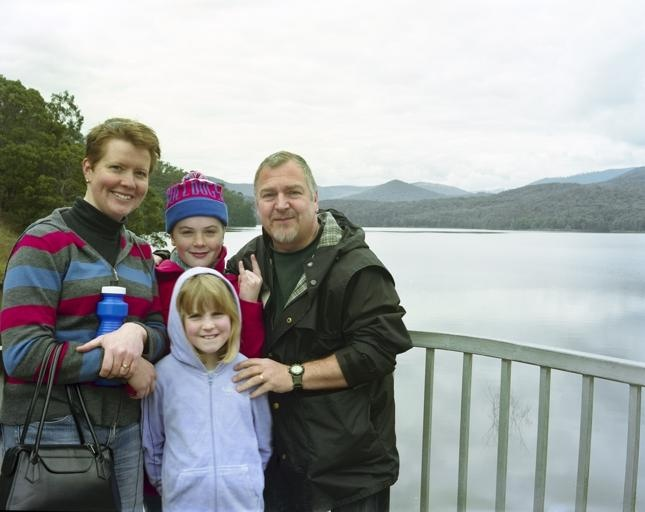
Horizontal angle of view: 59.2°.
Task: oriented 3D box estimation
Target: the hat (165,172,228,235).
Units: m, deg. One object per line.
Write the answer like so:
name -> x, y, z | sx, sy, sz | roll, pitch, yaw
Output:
hat -> -0.792, -0.343, 3.690 | 0.422, 0.430, 0.441 | -2, -9, -13

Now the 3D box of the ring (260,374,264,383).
ring -> -0.334, 0.686, 3.159 | 0.008, 0.032, 0.033 | 1, 4, -26
